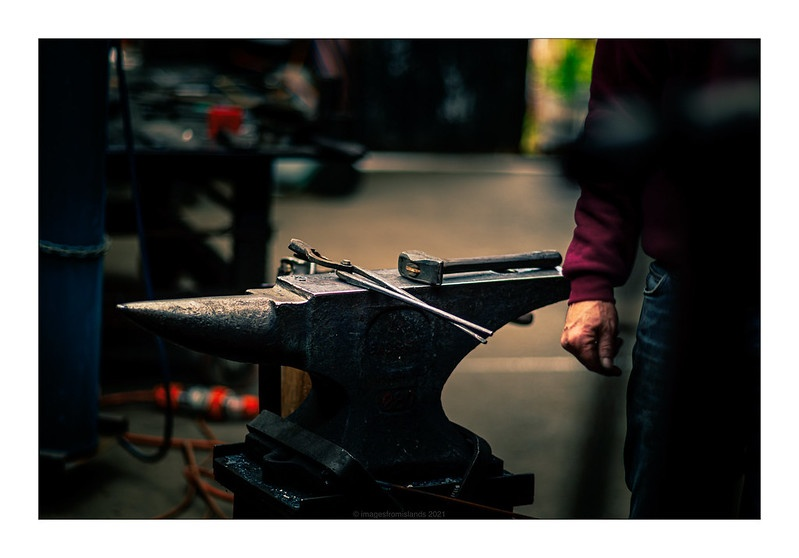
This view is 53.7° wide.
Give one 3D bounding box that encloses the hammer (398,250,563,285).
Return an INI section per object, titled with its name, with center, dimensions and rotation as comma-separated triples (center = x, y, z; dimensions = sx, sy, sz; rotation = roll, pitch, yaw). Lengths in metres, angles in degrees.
[hammer]
center = 0.318, -0.062, 3.148
dimensions = 0.473, 0.071, 0.225
rotation = -6, 8, -25

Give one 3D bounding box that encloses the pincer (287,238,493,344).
[pincer]
center = -0.067, 0.034, 2.972
dimensions = 0.956, 0.115, 0.103
rotation = 22, 19, 32

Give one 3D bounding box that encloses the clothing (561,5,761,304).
[clothing]
center = 0.937, -0.433, 3.358
dimensions = 0.386, 0.919, 1.218
rotation = 15, -5, -7
